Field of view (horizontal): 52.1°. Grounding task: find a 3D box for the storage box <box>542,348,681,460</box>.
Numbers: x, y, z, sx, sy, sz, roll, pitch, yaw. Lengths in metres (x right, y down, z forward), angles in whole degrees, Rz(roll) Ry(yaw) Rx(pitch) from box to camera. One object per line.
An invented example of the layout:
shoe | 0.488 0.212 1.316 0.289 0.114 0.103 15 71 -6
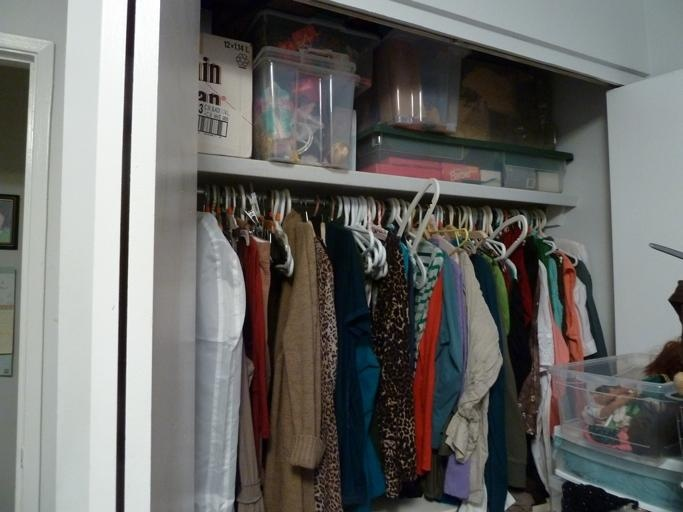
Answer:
storage box | 0.772 0.402 1.943 0.290 0.159 0.220 3 -6 -42

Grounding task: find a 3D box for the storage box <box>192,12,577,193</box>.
storage box | 0.193 -0.487 2.292 1.346 0.472 0.300 4 -3 -29
